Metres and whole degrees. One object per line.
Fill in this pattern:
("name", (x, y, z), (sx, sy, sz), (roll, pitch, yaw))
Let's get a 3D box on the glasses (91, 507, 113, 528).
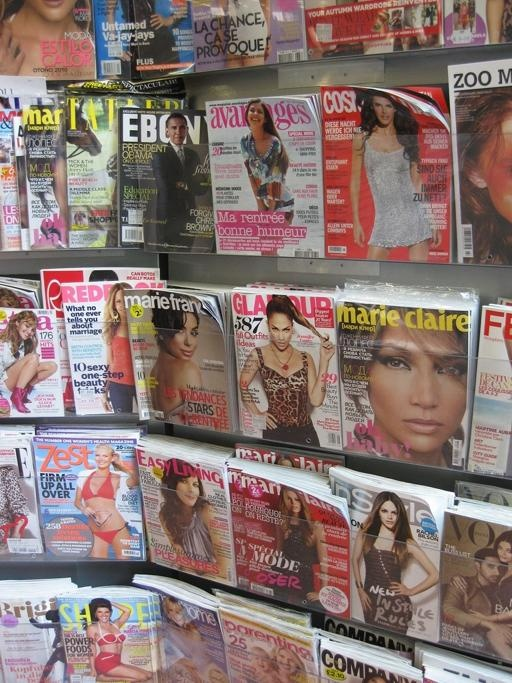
("glasses", (-0.398, 0.453, 1.560), (0.036, 0.040, 0.010), (4, -10, 2))
